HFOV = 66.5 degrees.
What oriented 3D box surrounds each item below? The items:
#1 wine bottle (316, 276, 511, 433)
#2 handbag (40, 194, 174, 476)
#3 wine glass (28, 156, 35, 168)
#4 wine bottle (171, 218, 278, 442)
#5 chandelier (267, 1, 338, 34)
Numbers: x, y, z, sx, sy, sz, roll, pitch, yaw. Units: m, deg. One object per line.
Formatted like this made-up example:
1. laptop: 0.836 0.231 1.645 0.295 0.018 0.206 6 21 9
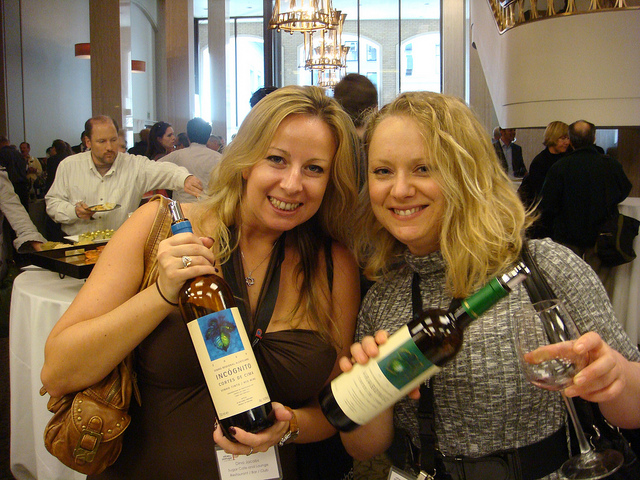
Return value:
1. wine bottle: 0.251 0.256 1.240 0.561 0.149 0.150 -38 -1 11
2. handbag: -0.646 0.330 1.507 0.428 0.888 0.292 -6 11 -20
3. wine glass: -5.102 -1.338 8.641 0.072 0.184 0.154 -3 11 -7
4. wine bottle: -0.280 0.215 1.294 0.129 0.588 0.145 -19 -5 -21
5. chandelier: -0.229 -2.785 6.101 0.817 0.413 0.724 -1 11 5
